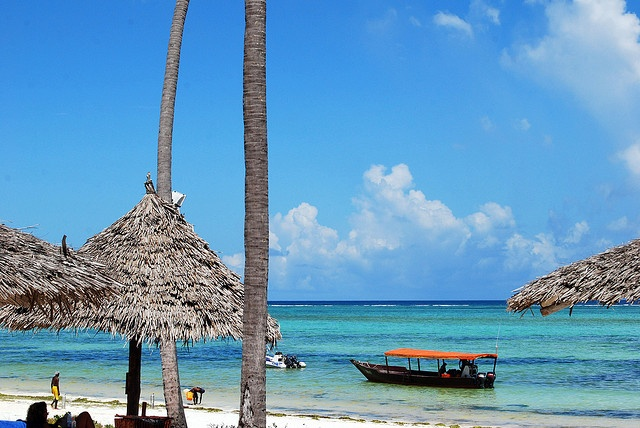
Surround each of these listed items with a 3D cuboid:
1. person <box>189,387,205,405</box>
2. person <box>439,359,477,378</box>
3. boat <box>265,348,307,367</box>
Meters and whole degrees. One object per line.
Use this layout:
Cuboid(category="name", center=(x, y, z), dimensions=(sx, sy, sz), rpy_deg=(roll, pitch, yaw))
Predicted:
Cuboid(category="person", center=(-6.925, 10.174, 42.225), dimensions=(1.061, 1.124, 0.844), rpy_deg=(4, -12, -8))
Cuboid(category="person", center=(8.946, 9.909, 48.339), dimensions=(2.189, 0.913, 1.183), rpy_deg=(0, 0, 6))
Cuboid(category="boat", center=(-2.918, 11.754, 60.841), dimensions=(2.713, 1.564, 4.065), rpy_deg=(0, -14, -12))
